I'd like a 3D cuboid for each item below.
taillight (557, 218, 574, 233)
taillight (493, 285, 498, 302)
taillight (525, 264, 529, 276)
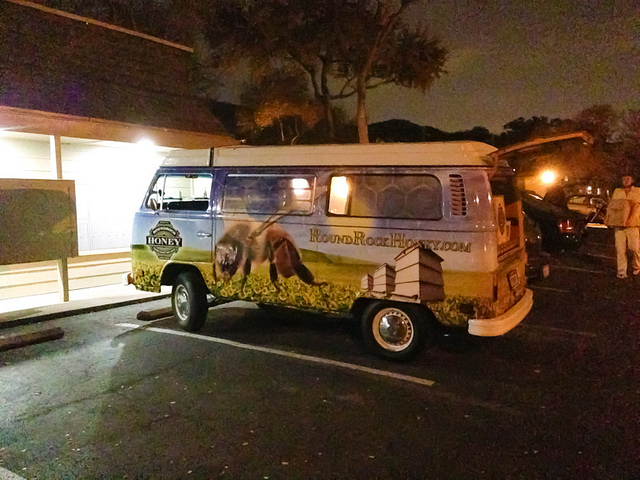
[{"bbox_3d":[6.942,-0.427,12.623,0.503,0.409,0.081,-2,10,-9],"label":"taillight"},{"bbox_3d":[2.381,0.717,6.077,0.055,0.229,0.068,5,-3,8],"label":"taillight"},{"bbox_3d":[4.400,0.622,9.478,0.058,0.230,0.080,5,11,29],"label":"taillight"}]
